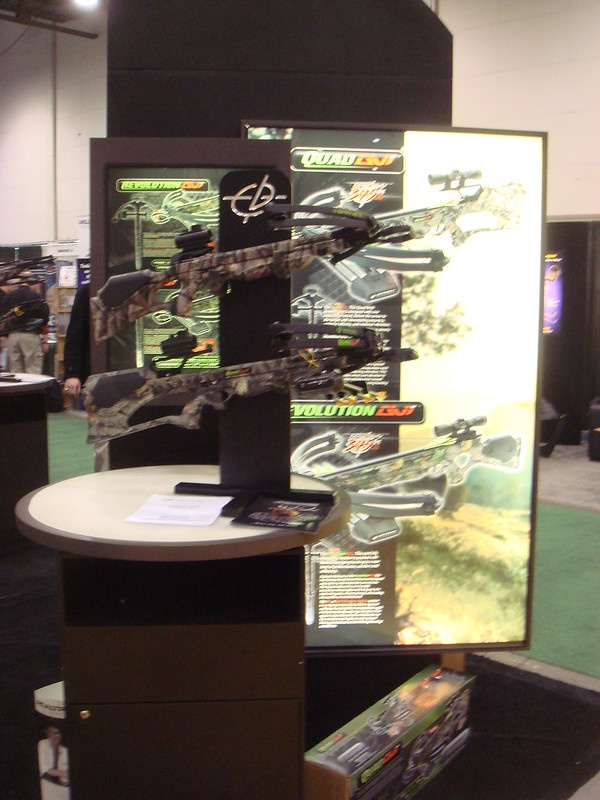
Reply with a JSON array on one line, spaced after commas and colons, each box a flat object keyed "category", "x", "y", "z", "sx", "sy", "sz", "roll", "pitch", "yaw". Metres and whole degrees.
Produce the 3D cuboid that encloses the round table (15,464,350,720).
[{"category": "round table", "x": -0.303, "y": 0.297, "z": 1.315, "sx": 0.418, "sy": 0.224, "sz": 0.408, "roll": 0, "pitch": 6, "yaw": 0}]
